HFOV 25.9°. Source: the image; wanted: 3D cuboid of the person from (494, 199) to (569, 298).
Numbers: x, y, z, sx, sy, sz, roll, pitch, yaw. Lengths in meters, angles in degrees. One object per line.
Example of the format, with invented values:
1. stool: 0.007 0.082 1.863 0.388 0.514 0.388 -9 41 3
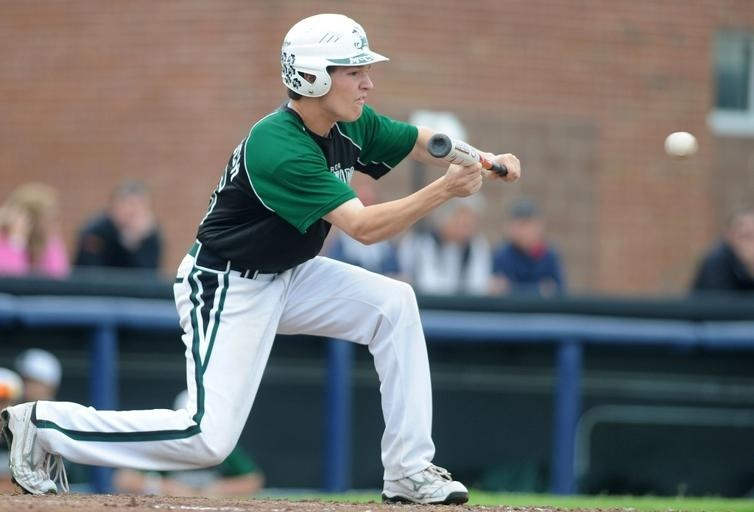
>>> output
1. person: 1.107 -0.039 12.045 0.425 0.692 0.246 0 -45 6

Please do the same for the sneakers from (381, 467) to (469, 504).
1. sneakers: 0.302 1.381 9.901 0.523 0.225 0.202 -1 -9 10

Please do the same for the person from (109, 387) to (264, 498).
1. person: -1.203 1.368 11.382 0.839 0.208 0.816 12 3 -32

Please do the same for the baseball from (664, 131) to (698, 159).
1. baseball: 1.926 -0.702 10.446 0.184 0.172 0.096 -1 -41 0

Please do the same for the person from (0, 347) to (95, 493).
1. person: -2.128 1.058 10.456 0.402 1.151 0.320 6 -42 -13

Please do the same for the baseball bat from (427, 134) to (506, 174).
1. baseball bat: 0.577 -0.578 9.789 0.665 0.144 0.117 16 18 -48

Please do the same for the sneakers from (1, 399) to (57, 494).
1. sneakers: -2.053 1.149 9.908 0.294 0.594 0.245 -12 9 3
